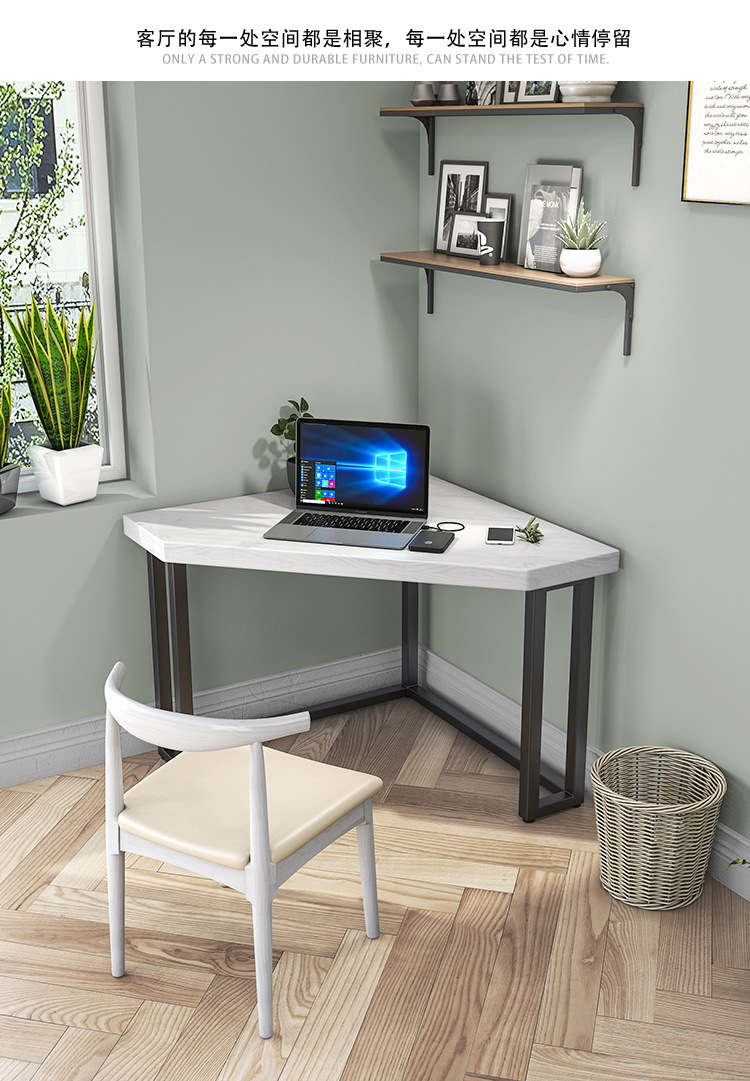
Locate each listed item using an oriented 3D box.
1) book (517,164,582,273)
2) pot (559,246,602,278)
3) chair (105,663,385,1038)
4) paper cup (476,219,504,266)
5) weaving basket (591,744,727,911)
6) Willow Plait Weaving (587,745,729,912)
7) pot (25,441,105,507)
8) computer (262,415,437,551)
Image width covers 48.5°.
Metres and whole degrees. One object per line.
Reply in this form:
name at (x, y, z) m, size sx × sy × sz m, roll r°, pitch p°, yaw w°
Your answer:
book at (0.437, -0.818, 2.112) m, size 0.177 × 0.246 × 0.026 m, roll 23°, pitch 32°, yaw 39°
pot at (0.464, -0.631, 1.886) m, size 0.072 × 0.052 × 0.072 m, roll 0°, pitch 22°, yaw 0°
chair at (-0.250, 0.501, 1.532) m, size 0.393 × 0.583 × 0.424 m, roll 5°, pitch 12°, yaw 19°
paper cup at (0.314, -0.822, 2.280) m, size 0.071 × 0.149 × 0.151 m, roll 1°, pitch 10°, yaw 7°
weaving basket at (0.638, 0.663, 1.938) m, size 0.290 × 0.304 × 0.309 m, roll 10°, pitch 14°, yaw 44°
Willow Plait Weaving at (0.656, 0.659, 1.912) m, size 0.241 × 0.204 × 0.227 m, roll -2°, pitch 8°, yaw 27°
pot at (-0.865, -0.188, 2.346) m, size 0.180 × 0.178 × 0.179 m, roll 1°, pitch 10°, yaw 0°
computer at (-0.081, -0.172, 2.251) m, size 0.412 × 0.284 × 0.331 m, roll 7°, pitch 18°, yaw 23°
